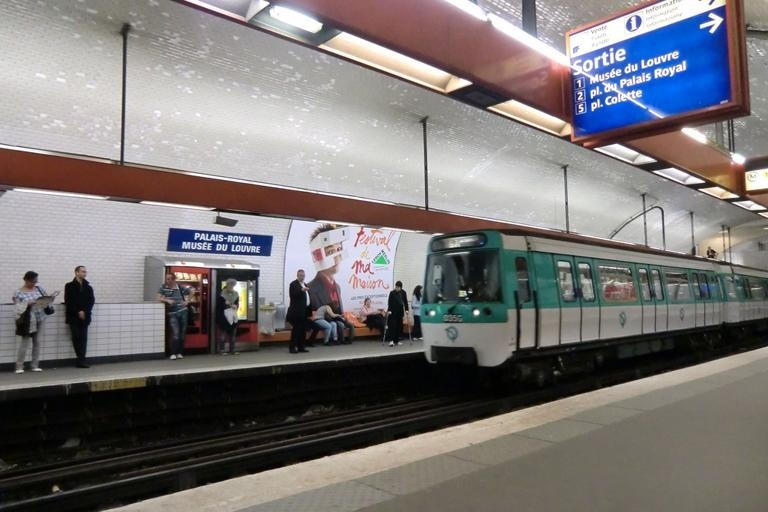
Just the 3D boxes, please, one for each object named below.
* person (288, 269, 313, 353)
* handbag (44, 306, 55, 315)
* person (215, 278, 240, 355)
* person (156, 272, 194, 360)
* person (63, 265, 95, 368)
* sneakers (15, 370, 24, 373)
[{"bbox_3d":[-2.320,1.496,13.364,0.600,2.184,0.935,-2,-2,-9],"label":"person"},{"bbox_3d":[-7.360,1.203,10.896,0.220,0.173,0.196,-3,-8,11],"label":"handbag"},{"bbox_3d":[-4.389,1.681,13.776,0.577,2.063,0.849,-1,-2,-18],"label":"person"},{"bbox_3d":[-5.407,1.520,12.785,0.733,2.165,1.202,-1,-2,-21],"label":"person"},{"bbox_3d":[-6.917,1.368,11.264,0.578,2.266,0.511,-2,-2,12],"label":"person"},{"bbox_3d":[-7.648,2.442,10.387,0.231,0.080,0.076,-7,-4,22],"label":"sneakers"}]
